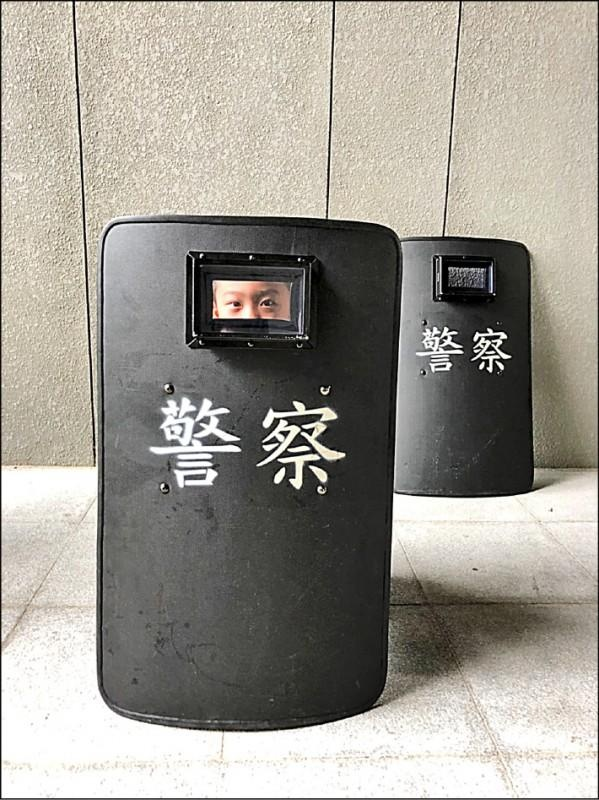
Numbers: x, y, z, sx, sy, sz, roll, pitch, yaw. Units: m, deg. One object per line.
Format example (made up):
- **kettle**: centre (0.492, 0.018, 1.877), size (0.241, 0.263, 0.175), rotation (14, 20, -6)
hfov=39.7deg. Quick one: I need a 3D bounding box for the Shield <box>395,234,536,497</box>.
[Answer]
- **Shield**: centre (0.687, -0.128, 3.380), size (0.581, 1.027, 0.349), rotation (1, 12, 0)
